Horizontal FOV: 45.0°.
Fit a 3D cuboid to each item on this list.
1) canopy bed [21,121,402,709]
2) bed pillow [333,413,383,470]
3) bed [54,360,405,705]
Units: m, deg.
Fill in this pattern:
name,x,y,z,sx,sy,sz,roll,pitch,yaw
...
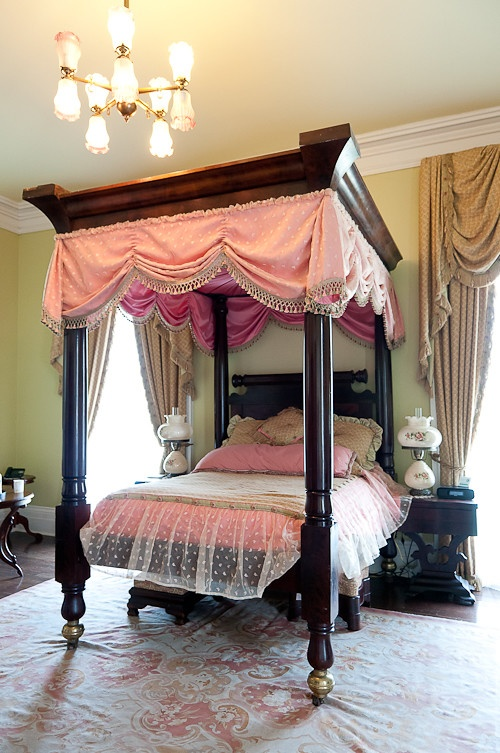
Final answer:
name,x,y,z,sx,sy,sz,roll,pitch,yaw
canopy bed,-0.047,0.172,3.516,1.638,2.387,1.920,-1,1,23
bed pillow,0.772,0.427,4.283,0.342,0.339,0.087,1,-33,35
bed,-0.181,0.623,3.613,1.891,1.327,2.091,3,0,17
